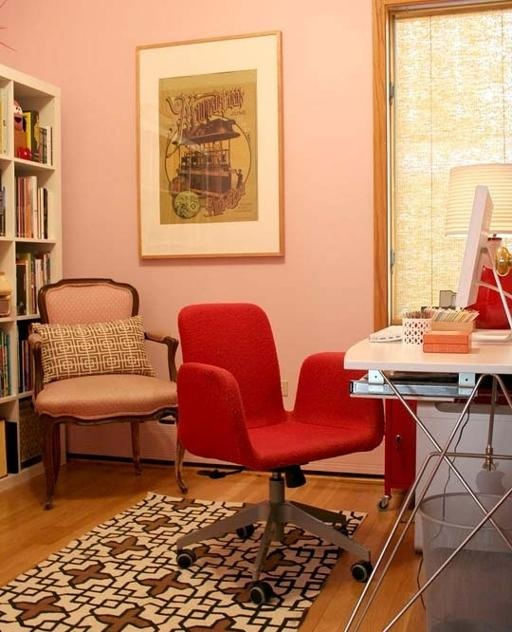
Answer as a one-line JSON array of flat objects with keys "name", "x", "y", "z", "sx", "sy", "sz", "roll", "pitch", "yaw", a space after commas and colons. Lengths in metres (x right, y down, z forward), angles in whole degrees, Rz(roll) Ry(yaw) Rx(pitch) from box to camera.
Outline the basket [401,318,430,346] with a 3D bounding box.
[{"name": "basket", "x": 0.452, "y": 0.046, "z": 1.661, "sx": 0.075, "sy": 0.077, "sz": 0.073, "roll": 0, "pitch": -1, "yaw": -18}]

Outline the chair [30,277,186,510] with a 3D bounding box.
[{"name": "chair", "x": -0.706, "y": 0.312, "z": 2.752, "sx": 0.738, "sy": 0.938, "sz": 0.746, "roll": 0, "pitch": 6, "yaw": -16}]

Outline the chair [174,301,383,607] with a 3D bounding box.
[{"name": "chair", "x": 0.075, "y": 0.392, "z": 1.900, "sx": 0.705, "sy": 0.814, "sz": 0.665, "roll": 0, "pitch": -1, "yaw": -42}]
